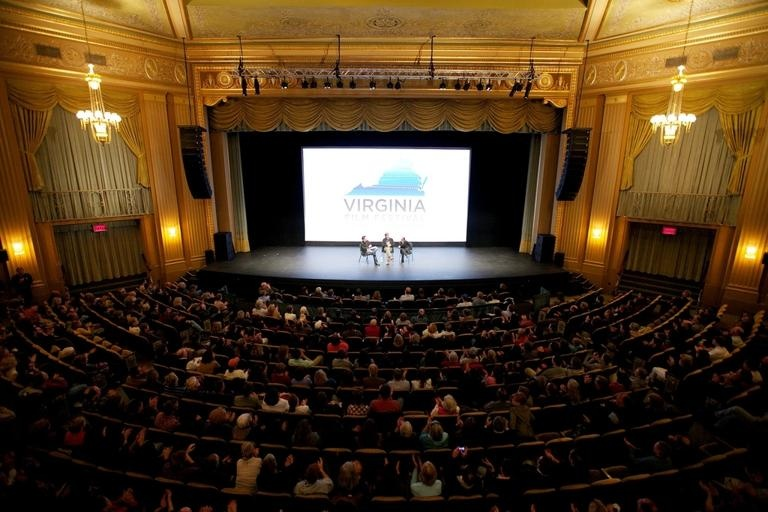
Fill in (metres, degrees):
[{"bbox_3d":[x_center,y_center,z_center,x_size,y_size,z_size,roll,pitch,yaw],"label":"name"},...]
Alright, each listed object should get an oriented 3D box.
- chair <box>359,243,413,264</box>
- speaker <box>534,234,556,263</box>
[{"bbox_3d":[0.113,-0.189,17.619,1.286,0.893,0.432,-2,-79,-3],"label":"chair"},{"bbox_3d":[5.853,-0.313,17.932,0.608,0.810,1.003,6,-72,1],"label":"speaker"}]
